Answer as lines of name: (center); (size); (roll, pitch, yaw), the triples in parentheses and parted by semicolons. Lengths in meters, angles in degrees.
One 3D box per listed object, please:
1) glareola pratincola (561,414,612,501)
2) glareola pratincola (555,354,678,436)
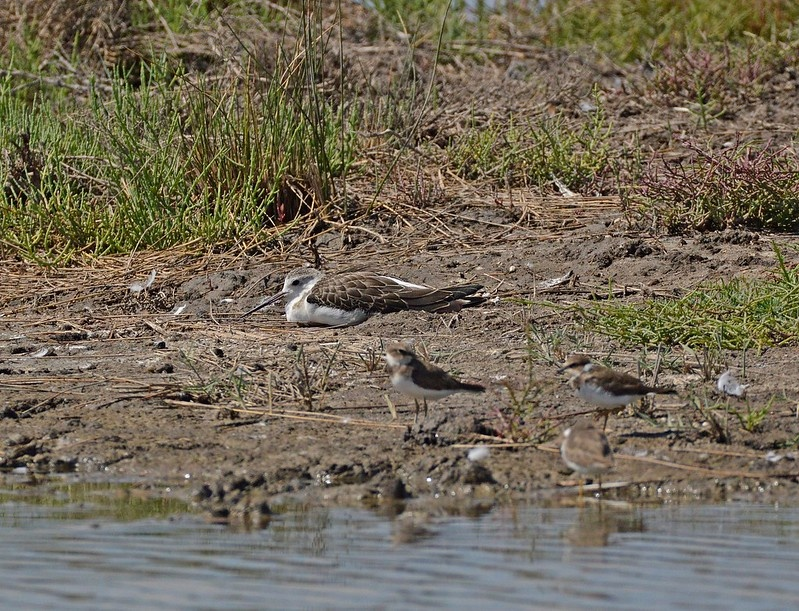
glareola pratincola: (0.916, 0.710, 4.721); (0.208, 0.238, 0.269); (6, 54, 0)
glareola pratincola: (1.203, 0.448, 5.201); (0.634, 0.215, 0.345); (-3, 93, -12)
